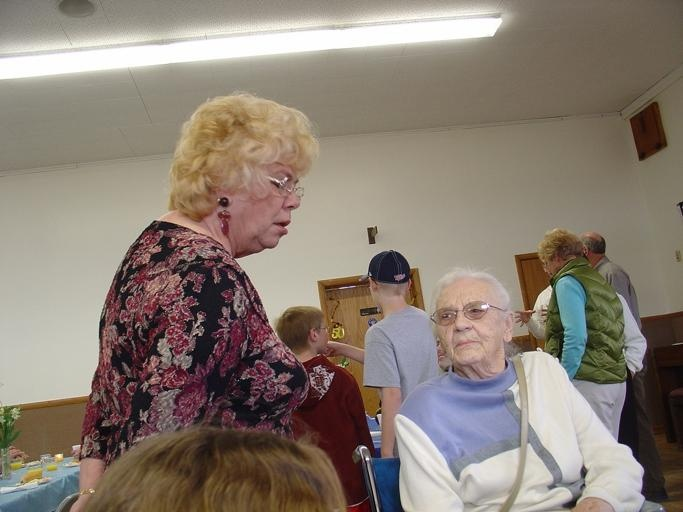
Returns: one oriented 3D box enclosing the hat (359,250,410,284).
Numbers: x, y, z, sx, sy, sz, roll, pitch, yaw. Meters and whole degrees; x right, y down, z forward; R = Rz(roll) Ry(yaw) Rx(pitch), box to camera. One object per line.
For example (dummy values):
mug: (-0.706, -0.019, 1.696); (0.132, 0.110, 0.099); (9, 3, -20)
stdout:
hat: (0.256, 0.050, 3.135); (0.215, 0.178, 0.332); (-5, 4, -20)
